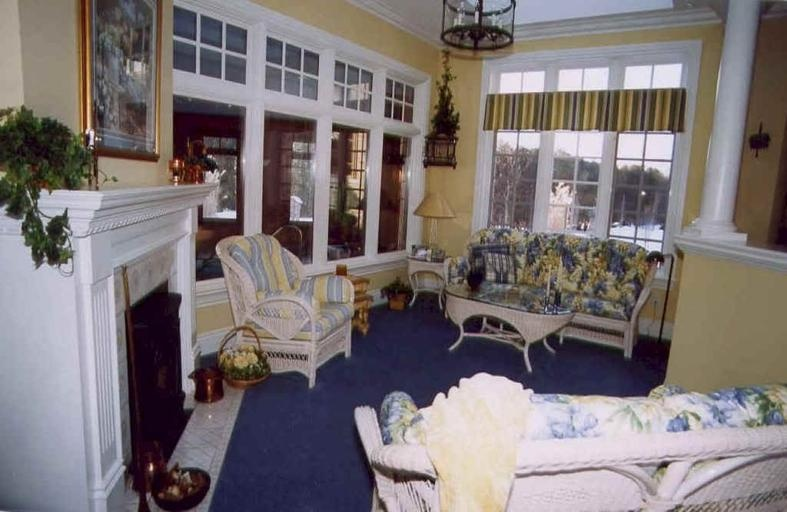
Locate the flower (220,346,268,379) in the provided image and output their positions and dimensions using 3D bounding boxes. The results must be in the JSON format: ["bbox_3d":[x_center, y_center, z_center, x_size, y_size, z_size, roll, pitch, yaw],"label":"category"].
[{"bbox_3d":[-1.287,0.934,4.626,0.281,0.155,0.320,3,0,-11],"label":"flower"}]

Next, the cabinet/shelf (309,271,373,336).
[{"bbox_3d":[-0.540,0.510,6.248,0.684,0.778,0.648,0,22,-17],"label":"cabinet/shelf"}]

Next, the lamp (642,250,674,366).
[{"bbox_3d":[3.014,0.457,6.126,0.233,1.197,1.025,7,16,29],"label":"lamp"}]

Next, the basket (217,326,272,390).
[{"bbox_3d":[-1.317,0.864,4.667,0.421,0.505,0.438,-4,17,-28],"label":"basket"}]

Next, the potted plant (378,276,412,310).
[{"bbox_3d":[0.017,0.492,7.196,0.382,0.417,0.396,0,2,2],"label":"potted plant"}]

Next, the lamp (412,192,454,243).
[{"bbox_3d":[0.550,-0.522,7.564,0.526,0.759,0.779,-1,14,2],"label":"lamp"}]

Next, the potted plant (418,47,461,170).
[{"bbox_3d":[0.693,-2.086,7.734,0.506,1.631,0.532,2,14,13],"label":"potted plant"}]

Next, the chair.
[{"bbox_3d":[-1.026,0.458,5.181,1.207,1.211,1.074,9,12,32],"label":"chair"}]

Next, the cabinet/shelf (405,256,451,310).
[{"bbox_3d":[0.493,0.351,7.471,0.606,0.675,0.554,2,13,13],"label":"cabinet/shelf"}]
